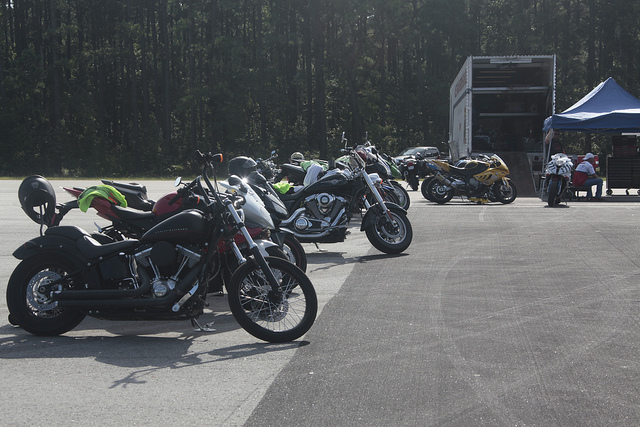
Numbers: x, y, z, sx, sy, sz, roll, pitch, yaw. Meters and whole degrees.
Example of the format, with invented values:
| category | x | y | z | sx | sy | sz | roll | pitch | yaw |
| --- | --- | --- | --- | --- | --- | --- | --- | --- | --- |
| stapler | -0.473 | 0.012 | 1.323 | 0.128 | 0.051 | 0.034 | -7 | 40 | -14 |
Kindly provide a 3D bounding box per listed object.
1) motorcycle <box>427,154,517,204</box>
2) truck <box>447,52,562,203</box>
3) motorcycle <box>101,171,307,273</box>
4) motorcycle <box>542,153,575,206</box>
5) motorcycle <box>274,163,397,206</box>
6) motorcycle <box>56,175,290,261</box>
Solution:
| category | x | y | z | sx | sy | sz | roll | pitch | yaw |
| --- | --- | --- | --- | --- | --- | --- | --- | --- | --- |
| motorcycle | 5.214 | -1.108 | 21.394 | 3.117 | 1.848 | 1.371 | -1 | -2 | 1 |
| truck | 7.361 | -3.274 | 24.872 | 2.282 | 3.497 | 6.486 | -1 | 8 | 2 |
| motorcycle | -1.568 | 0.080 | 9.789 | 2.736 | 1.676 | 1.703 | 4 | 2 | 6 |
| motorcycle | 7.747 | -1.020 | 20.357 | 0.706 | 1.589 | 2.002 | 2 | 10 | 22 |
| motorcycle | 0.376 | -0.746 | 14.034 | 2.189 | 1.283 | 1.185 | -2 | 4 | 2 |
| motorcycle | -1.931 | -0.016 | 8.415 | 2.518 | 1.463 | 1.415 | -2 | 3 | 9 |
